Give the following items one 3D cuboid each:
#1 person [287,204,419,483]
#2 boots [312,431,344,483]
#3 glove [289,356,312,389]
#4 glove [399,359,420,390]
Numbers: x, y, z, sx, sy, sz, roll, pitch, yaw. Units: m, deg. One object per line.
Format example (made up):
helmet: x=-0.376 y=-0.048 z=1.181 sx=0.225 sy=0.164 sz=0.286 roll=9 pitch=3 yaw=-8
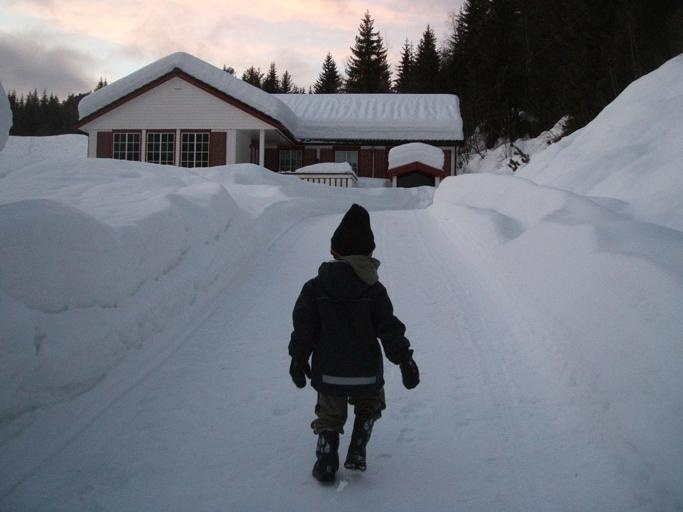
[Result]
person: x=0.063 y=0.772 z=3.472 sx=0.841 sy=1.543 sz=0.294 roll=1 pitch=6 yaw=0
boots: x=-0.116 y=1.378 z=3.553 sx=0.152 sy=0.361 sz=0.342 roll=7 pitch=-18 yaw=-10
glove: x=-0.281 y=0.800 z=3.454 sx=0.157 sy=0.246 sz=0.132 roll=-2 pitch=7 yaw=-27
glove: x=0.460 y=0.804 z=3.414 sx=0.119 sy=0.257 sz=0.169 roll=2 pitch=6 yaw=9
